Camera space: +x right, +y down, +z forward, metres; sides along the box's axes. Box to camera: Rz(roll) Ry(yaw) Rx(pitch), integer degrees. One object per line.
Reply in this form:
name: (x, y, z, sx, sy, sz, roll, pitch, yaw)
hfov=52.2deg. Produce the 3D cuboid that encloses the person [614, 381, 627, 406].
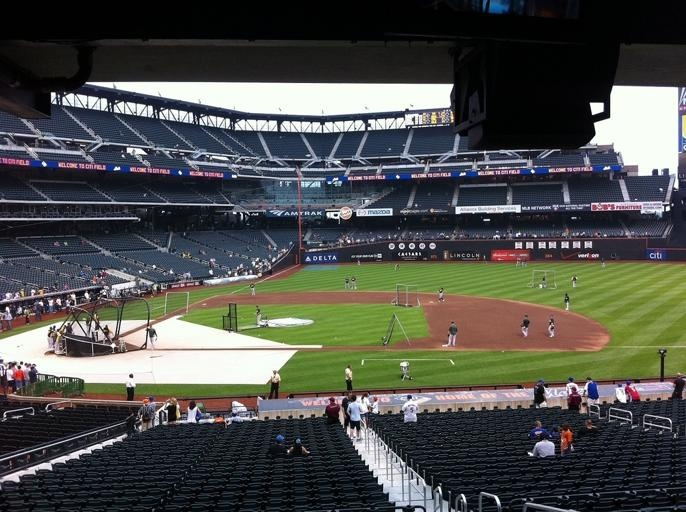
person: (9.473, 4.807, 24.013, 0.626, 0.626, 0.184, 4, -28, 1)

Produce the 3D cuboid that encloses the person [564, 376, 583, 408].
person: (7.456, 4.561, 22.708, 0.693, 0.403, 1.626, -1, 8, 20)

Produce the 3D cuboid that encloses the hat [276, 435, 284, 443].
hat: (-1.511, 4.462, 16.908, 0.198, 0.120, 0.263, 4, 0, -1)
